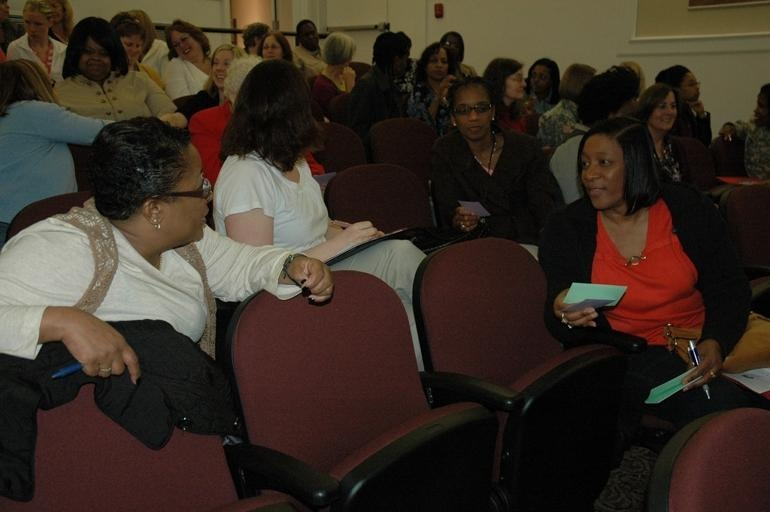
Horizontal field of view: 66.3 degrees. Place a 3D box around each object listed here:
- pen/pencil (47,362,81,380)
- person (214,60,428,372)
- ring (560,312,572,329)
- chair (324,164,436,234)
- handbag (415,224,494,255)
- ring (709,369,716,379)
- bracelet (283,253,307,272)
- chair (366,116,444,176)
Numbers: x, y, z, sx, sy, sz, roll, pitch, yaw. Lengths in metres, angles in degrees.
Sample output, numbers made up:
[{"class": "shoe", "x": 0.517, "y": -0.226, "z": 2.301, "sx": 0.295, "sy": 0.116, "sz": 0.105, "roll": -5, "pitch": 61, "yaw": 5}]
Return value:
[{"class": "pen/pencil", "x": -0.831, "y": 0.297, "z": 1.525, "sx": 0.019, "sy": 0.019, "sz": 0.083, "roll": 44, "pitch": 41, "yaw": 20}, {"class": "person", "x": -0.249, "y": -0.081, "z": 2.635, "sx": 0.877, "sy": 1.488, "sz": 0.651, "roll": -1, "pitch": 15, "yaw": 7}, {"class": "ring", "x": 0.688, "y": 0.243, "z": 2.245, "sx": 0.032, "sy": 0.045, "sz": 0.049, "roll": -38, "pitch": -3, "yaw": -22}, {"class": "chair", "x": -0.098, "y": -0.342, "z": 3.541, "sx": 0.502, "sy": 0.592, "sz": 0.489, "roll": -1, "pitch": 30, "yaw": -7}, {"class": "handbag", "x": 0.345, "y": -0.126, "z": 3.002, "sx": 0.154, "sy": 0.139, "sz": 0.538, "roll": 54, "pitch": 34, "yaw": 14}, {"class": "ring", "x": 1.205, "y": 0.435, "z": 2.179, "sx": 0.011, "sy": 0.031, "sz": 0.022, "roll": -1, "pitch": -10, "yaw": 37}, {"class": "bracelet", "x": -0.297, "y": 0.012, "z": 1.933, "sx": 0.049, "sy": 0.067, "sz": 0.025, "roll": 39, "pitch": 6, "yaw": 40}, {"class": "chair", "x": 0.151, "y": -0.781, "z": 4.367, "sx": 0.438, "sy": 0.597, "sz": 0.498, "roll": -4, "pitch": 8, "yaw": -26}]
